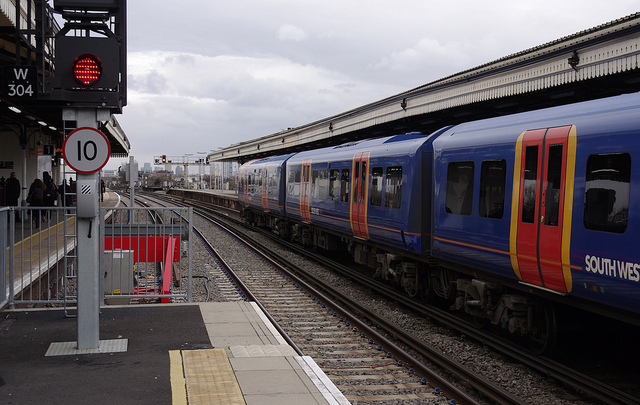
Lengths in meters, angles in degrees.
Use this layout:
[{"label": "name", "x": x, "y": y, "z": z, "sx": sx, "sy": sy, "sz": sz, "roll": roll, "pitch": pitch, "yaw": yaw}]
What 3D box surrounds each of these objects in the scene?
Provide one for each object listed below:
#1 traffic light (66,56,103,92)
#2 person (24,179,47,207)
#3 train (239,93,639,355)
[{"label": "traffic light", "x": -3.392, "y": -1.933, "z": 6.691, "sx": 0.556, "sy": 0.545, "sz": 0.292, "roll": -3, "pitch": 1, "yaw": -16}, {"label": "person", "x": -10.811, "y": -0.371, "z": 17.499, "sx": 0.452, "sy": 0.865, "sz": 1.143, "roll": 5, "pitch": 1, "yaw": -37}, {"label": "train", "x": 2.635, "y": 0.292, "z": 12.238, "sx": 2.076, "sy": 5.223, "sz": 11.781, "roll": 5, "pitch": 1, "yaw": -29}]
